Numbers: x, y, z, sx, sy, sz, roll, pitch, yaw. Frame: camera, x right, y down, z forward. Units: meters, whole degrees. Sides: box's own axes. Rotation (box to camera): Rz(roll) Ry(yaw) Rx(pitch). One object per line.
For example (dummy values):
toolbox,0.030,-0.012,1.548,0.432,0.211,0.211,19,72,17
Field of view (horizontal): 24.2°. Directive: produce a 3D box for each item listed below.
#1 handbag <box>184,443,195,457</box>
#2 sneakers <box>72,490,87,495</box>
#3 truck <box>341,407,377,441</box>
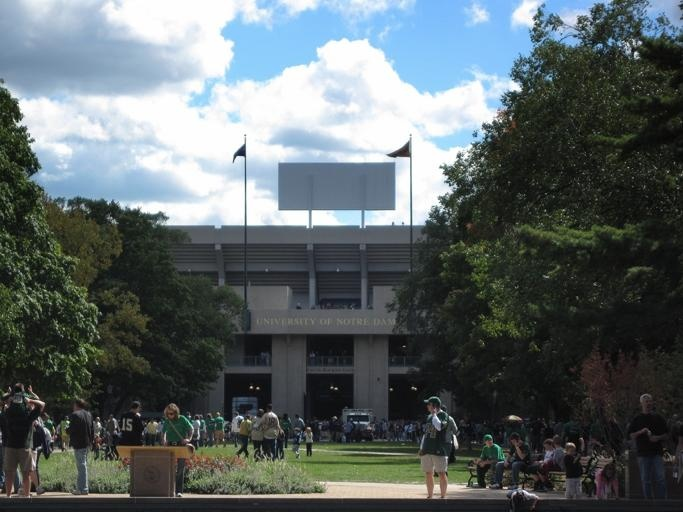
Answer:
handbag,-4.707,5.942,48.503,0.232,0.394,0.496,1,-12,-6
sneakers,-8.242,7.385,49.305,0.477,0.214,0.184,7,-10,6
truck,0.896,10.096,91.901,1.871,2.184,3.841,-1,-15,3
